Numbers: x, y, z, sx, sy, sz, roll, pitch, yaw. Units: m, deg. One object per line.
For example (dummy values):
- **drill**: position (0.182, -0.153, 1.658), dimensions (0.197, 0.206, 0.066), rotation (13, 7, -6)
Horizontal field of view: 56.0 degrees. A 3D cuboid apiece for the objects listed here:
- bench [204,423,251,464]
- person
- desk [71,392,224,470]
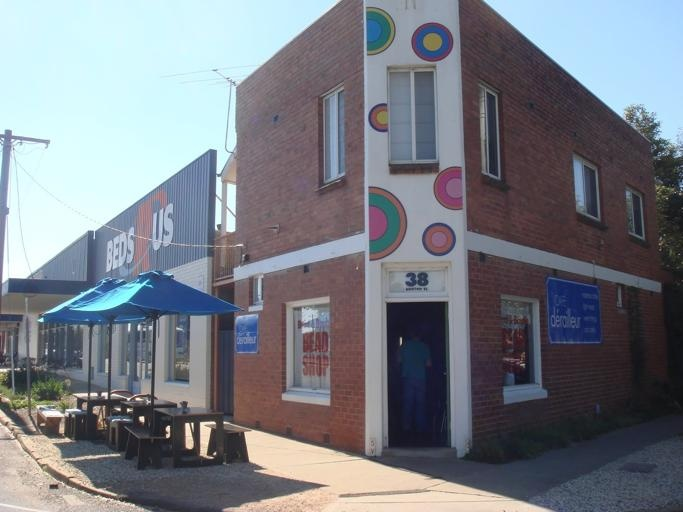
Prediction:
- **bench**: position (-2.190, 3.639, 12.511), dimensions (0.550, 0.734, 1.004), rotation (1, -4, -29)
- **person**: position (1.628, 2.753, 14.282), dimensions (0.690, 2.347, 0.874), rotation (-3, -13, 5)
- **desk**: position (-3.685, 3.549, 13.092), dimensions (1.659, 1.442, 3.318), rotation (9, -19, -38)
